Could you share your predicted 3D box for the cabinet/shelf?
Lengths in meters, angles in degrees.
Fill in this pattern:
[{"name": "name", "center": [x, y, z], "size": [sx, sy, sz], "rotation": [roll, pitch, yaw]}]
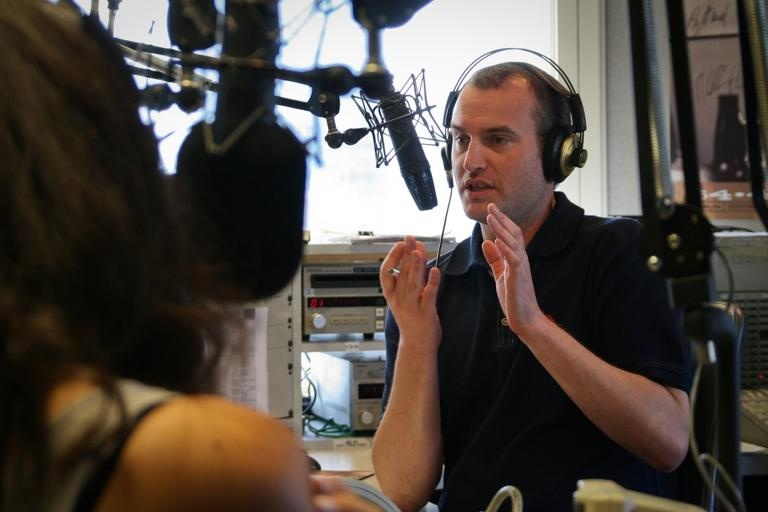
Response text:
[{"name": "cabinet/shelf", "center": [-0.111, 0.287, 2.240], "size": [0.325, 0.560, 0.304], "rotation": [3, -28, -26]}]
